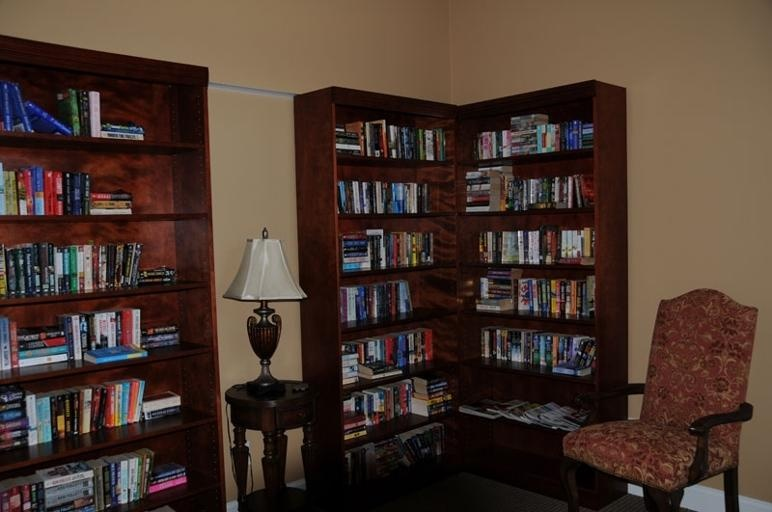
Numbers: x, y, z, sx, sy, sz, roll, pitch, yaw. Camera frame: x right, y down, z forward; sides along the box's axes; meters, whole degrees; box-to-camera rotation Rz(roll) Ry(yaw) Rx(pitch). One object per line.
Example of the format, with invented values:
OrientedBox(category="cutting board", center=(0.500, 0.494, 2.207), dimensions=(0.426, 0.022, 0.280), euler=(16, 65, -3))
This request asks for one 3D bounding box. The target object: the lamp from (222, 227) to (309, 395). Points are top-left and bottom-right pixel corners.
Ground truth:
OrientedBox(category="lamp", center=(-0.878, 0.372, 4.258), dimensions=(0.532, 1.138, 0.554), euler=(-4, 4, -19))
